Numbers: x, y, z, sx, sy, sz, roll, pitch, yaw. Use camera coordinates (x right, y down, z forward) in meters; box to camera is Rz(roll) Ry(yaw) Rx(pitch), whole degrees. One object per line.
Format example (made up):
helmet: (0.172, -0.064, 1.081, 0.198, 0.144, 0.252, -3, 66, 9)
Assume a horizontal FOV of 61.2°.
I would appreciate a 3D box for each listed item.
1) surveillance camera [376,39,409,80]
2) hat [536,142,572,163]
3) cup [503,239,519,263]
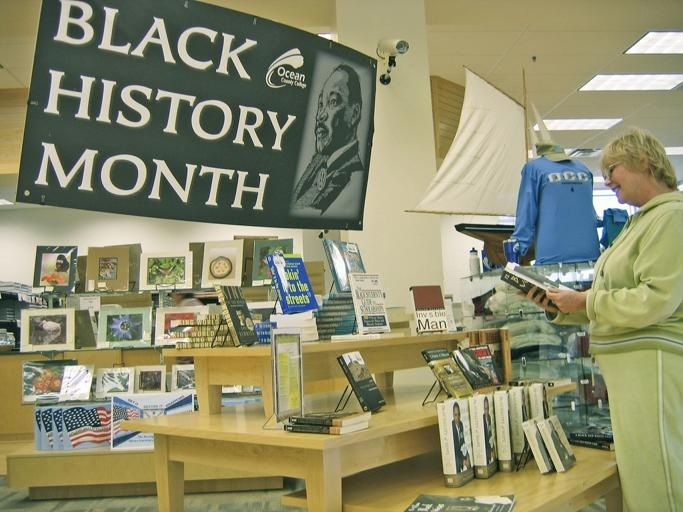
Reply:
surveillance camera: (0.463, -1.766, 5.245, 0.269, 0.380, 0.535, -5, -4, 5)
hat: (1.554, -0.784, 4.270, 0.146, 0.063, 0.204, -10, 25, -18)
cup: (1.250, -0.039, 4.234, 0.066, 0.171, 0.122, -6, 6, -42)
